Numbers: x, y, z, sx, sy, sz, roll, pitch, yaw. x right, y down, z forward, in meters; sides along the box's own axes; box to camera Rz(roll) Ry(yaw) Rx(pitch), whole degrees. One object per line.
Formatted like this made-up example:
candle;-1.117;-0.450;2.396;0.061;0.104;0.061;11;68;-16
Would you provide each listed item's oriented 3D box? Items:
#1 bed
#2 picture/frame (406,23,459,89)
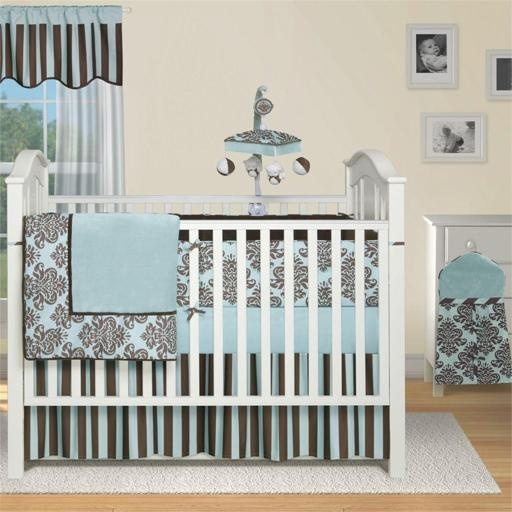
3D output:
bed;-0.217;0.068;4.401;1.551;1.164;1.497;0;14;-1
picture/frame;0.856;-0.994;4.983;0.256;0.374;0.014;0;5;2
